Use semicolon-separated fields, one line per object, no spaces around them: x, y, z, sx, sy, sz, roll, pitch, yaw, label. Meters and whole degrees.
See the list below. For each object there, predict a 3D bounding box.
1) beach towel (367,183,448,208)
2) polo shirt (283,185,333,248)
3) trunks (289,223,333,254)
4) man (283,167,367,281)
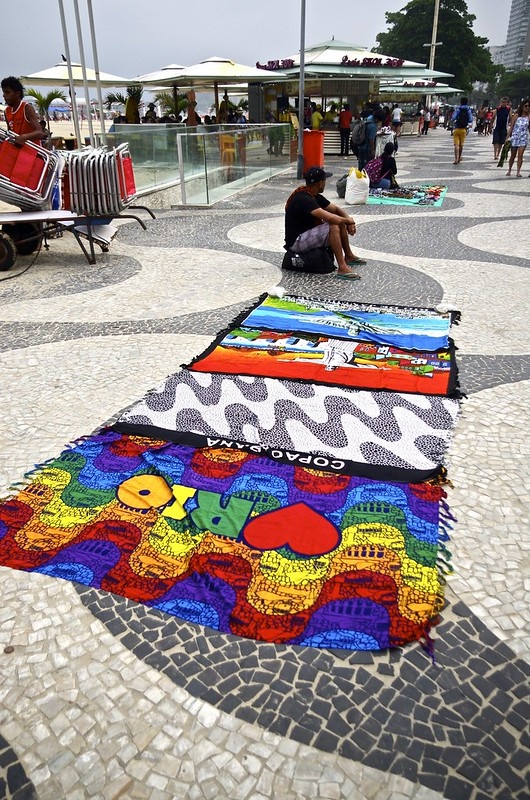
3.233;-4.629;11.693;1.672;0.446;2.543;7;22;17;beach towel
0.511;-2.401;6.519;0.661;0.748;0.544;-12;43;-6;polo shirt
0.584;-1.984;6.383;0.437;0.149;0.257;-16;6;42;trunks
0.750;-2.274;6.484;0.986;1.261;0.774;4;25;12;man
